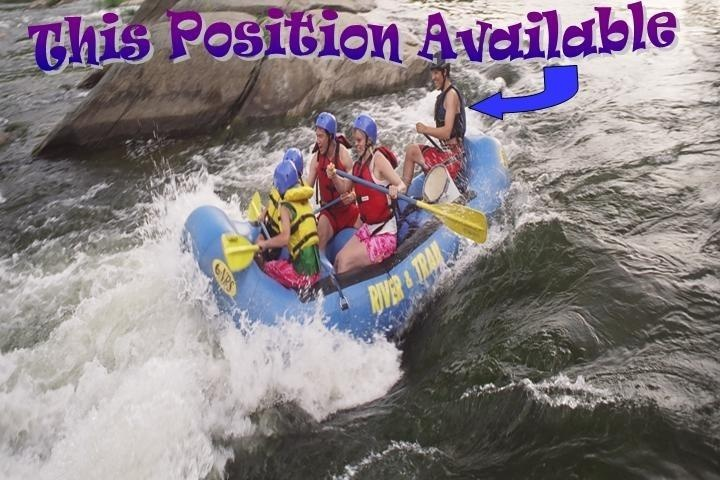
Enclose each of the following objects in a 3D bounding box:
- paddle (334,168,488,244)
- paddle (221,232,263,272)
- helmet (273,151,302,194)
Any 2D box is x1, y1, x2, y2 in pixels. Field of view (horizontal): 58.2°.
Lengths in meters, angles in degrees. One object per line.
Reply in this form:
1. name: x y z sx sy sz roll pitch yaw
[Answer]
1. paddle: 0.692 -0.440 9.164 2.099 0.151 0.361 26 81 13
2. paddle: -1.578 0.160 8.551 0.462 0.392 0.476 -14 30 -16
3. helmet: -0.922 -0.901 8.510 0.329 0.454 0.467 22 38 40
